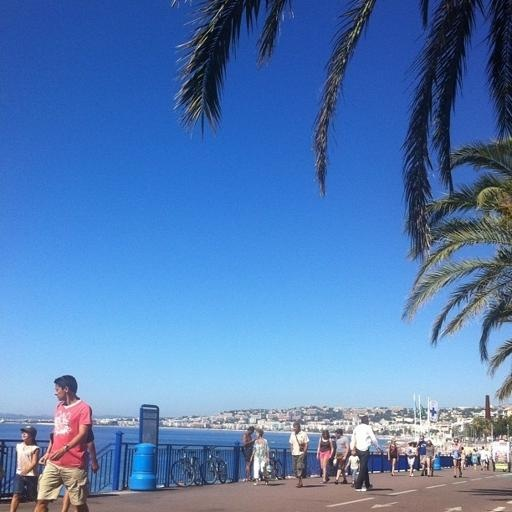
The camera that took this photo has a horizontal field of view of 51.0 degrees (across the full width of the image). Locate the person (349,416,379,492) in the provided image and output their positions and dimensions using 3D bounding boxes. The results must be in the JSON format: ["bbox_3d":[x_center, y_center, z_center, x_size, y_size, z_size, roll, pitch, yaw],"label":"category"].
[{"bbox_3d":[3.168,5.649,15.651,0.580,2.269,0.668,1,0,-43],"label":"person"}]

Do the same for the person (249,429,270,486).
[{"bbox_3d":[0.167,6.579,17.786,0.521,1.705,0.893,-1,-15,0],"label":"person"}]

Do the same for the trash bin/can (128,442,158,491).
[{"bbox_3d":[-3.056,5.707,14.777,0.620,1.262,0.728,2,-9,-12],"label":"trash bin/can"}]

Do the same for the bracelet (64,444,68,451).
[{"bbox_3d":[-1.931,1.941,5.478,0.028,0.059,0.045,1,-16,6],"label":"bracelet"}]

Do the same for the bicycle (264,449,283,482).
[{"bbox_3d":[0.714,7.763,20.300,0.576,0.915,1.530,-5,-49,4],"label":"bicycle"}]

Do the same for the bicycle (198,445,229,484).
[{"bbox_3d":[-1.341,6.842,17.650,0.429,1.098,1.442,-5,-18,16],"label":"bicycle"}]

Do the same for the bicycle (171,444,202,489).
[{"bbox_3d":[-2.016,6.644,16.957,0.524,0.939,1.454,9,-39,0],"label":"bicycle"}]
